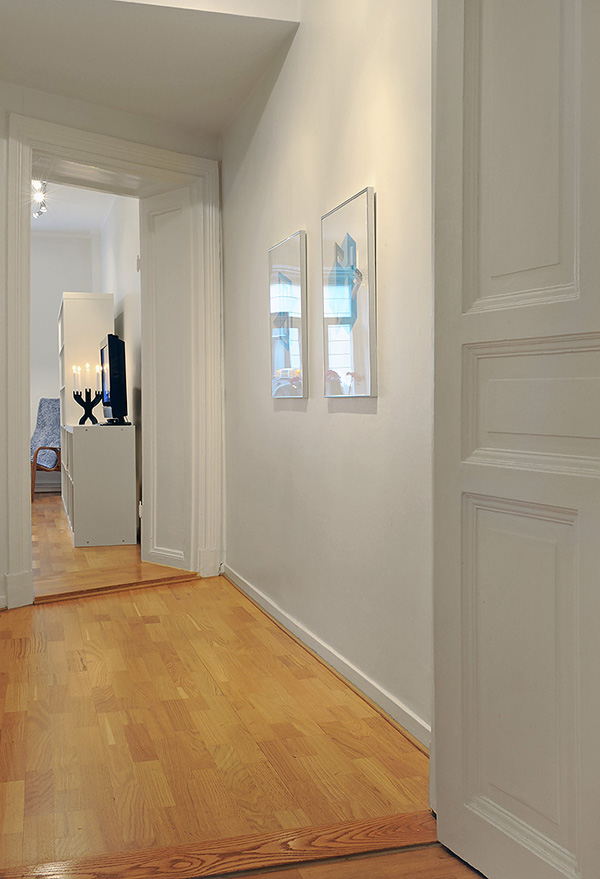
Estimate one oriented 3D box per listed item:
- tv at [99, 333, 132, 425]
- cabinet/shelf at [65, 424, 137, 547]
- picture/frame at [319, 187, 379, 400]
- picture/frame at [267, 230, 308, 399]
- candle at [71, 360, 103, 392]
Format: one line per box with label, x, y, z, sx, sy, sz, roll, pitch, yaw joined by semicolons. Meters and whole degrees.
tv;-1.618;-0.490;5.871;0.204;0.779;0.683;-1;1;-23
cabinet/shelf;-1.852;0.280;5.979;0.462;0.978;1.617;-1;7;-23
picture/frame;0.152;-0.503;2.380;0.023;0.759;0.487;5;11;32
picture/frame;-0.051;-0.570;3.124;0.026;0.803;0.527;-2;-1;-20
candle;-2.153;-0.619;6.832;0.336;0.450;0.326;-1;2;-5
